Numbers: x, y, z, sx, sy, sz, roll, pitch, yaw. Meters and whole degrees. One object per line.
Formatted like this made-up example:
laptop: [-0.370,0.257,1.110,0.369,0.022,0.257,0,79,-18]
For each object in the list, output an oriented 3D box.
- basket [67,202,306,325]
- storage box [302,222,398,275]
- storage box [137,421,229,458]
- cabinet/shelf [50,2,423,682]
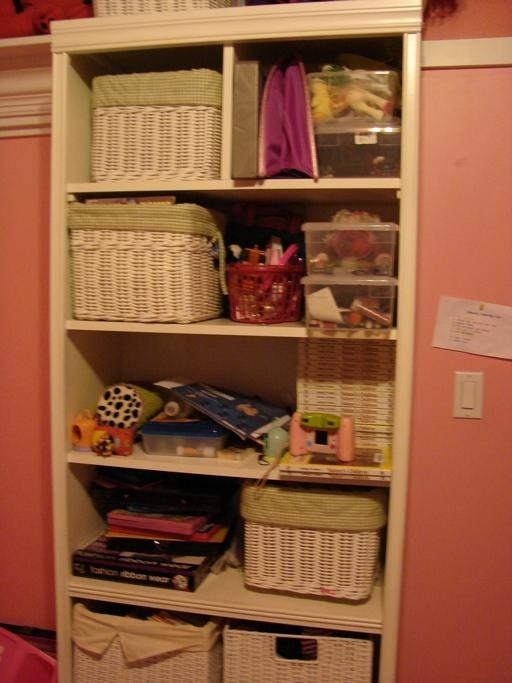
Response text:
basket: [-0.177,-0.154,1.392,0.291,0.188,0.393,3,7,24]
storage box: [0.176,-0.174,1.221,0.165,0.075,0.101,3,8,15]
storage box: [-0.158,0.197,1.383,0.124,0.039,0.090,2,2,8]
cabinet/shelf: [-0.063,0.050,1.337,0.744,1.378,0.314,1,14,11]
